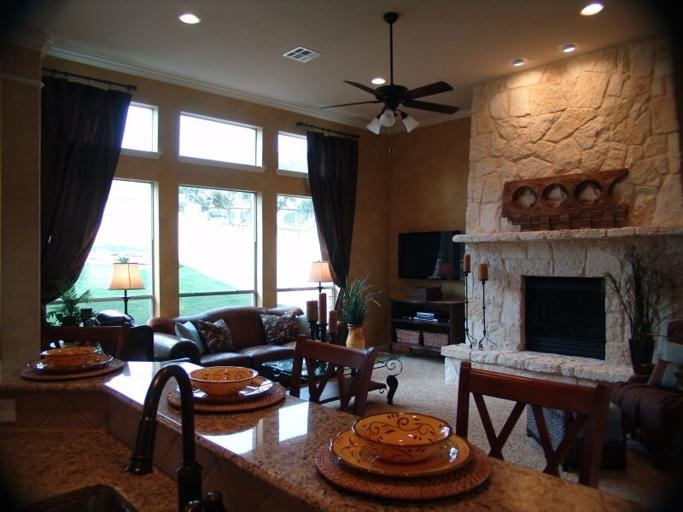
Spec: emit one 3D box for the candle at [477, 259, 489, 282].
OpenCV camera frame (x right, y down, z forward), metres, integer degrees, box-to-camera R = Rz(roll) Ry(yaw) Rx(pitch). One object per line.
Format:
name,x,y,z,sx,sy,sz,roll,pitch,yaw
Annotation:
candle,1.605,0.182,5.779,0.120,0.262,0.317,1,13,15

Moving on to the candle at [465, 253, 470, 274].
candle,1.417,0.079,5.779,0.055,0.194,0.067,-2,13,0

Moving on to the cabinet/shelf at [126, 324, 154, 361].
cabinet/shelf,-1.743,0.762,4.453,0.229,0.360,0.144,-12,15,-35

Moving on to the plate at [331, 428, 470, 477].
plate,0.183,0.595,1.570,0.436,0.039,0.202,-2,12,3

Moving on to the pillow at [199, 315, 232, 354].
pillow,-1.344,0.833,5.435,0.127,0.305,0.342,-28,-13,23

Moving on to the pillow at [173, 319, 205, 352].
pillow,-1.502,0.785,5.057,0.125,0.243,0.274,-14,-7,6

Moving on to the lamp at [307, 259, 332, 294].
lamp,-0.247,0.250,6.322,0.394,0.592,0.372,0,-6,1

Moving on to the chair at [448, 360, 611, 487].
chair,0.660,0.590,1.856,0.526,0.361,0.337,7,16,36

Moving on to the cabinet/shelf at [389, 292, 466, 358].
cabinet/shelf,1.199,0.939,6.989,0.352,0.728,0.964,4,-5,-40
